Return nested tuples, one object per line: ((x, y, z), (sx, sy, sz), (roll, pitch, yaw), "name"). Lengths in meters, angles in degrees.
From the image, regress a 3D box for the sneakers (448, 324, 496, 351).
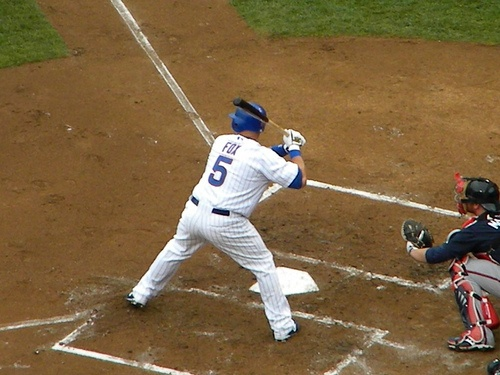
((2.524, 1.707, 10.241), (0.528, 0.272, 0.245), (2, -1, 15), "sneakers")
